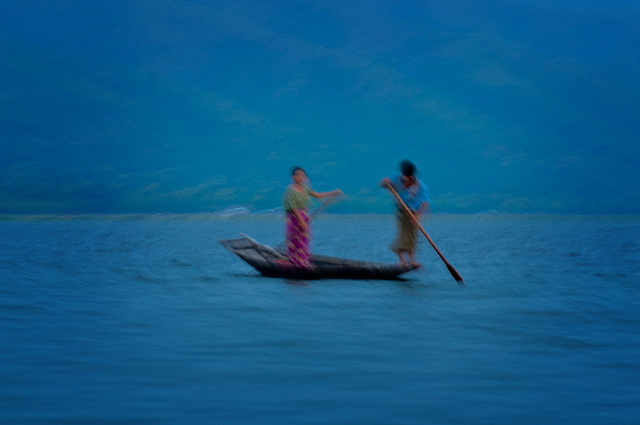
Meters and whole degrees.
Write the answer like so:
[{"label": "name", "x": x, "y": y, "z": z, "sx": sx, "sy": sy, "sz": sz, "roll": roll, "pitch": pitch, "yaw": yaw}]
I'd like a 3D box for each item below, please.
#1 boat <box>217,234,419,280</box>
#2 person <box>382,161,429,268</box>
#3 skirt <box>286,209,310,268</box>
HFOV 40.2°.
[{"label": "boat", "x": 0.451, "y": 0.856, "z": 14.427, "sx": 4.536, "sy": 0.488, "sz": 0.897, "roll": 4, "pitch": 6, "yaw": 8}, {"label": "person", "x": 1.437, "y": 0.008, "z": 14.384, "sx": 0.809, "sy": 1.724, "sz": 0.306, "roll": -12, "pitch": 6, "yaw": 3}, {"label": "skirt", "x": -0.479, "y": 0.470, "z": 14.636, "sx": 0.571, "sy": 0.834, "sz": 0.422, "roll": 7, "pitch": -3, "yaw": -12}]
